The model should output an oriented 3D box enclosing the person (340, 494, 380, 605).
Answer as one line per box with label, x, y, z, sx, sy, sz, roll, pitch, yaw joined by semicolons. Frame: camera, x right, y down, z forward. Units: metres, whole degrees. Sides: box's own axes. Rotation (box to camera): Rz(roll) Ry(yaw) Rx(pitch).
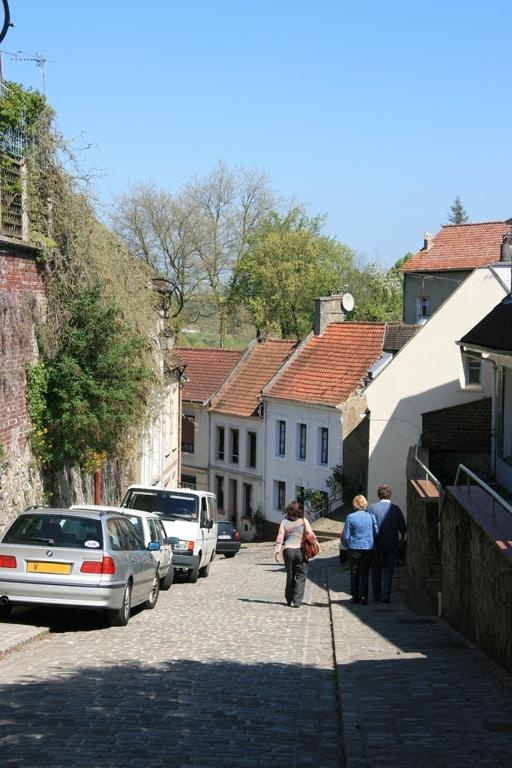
person;1.411;2.253;13.411;0.477;1.484;0.843;-1;-2;5
